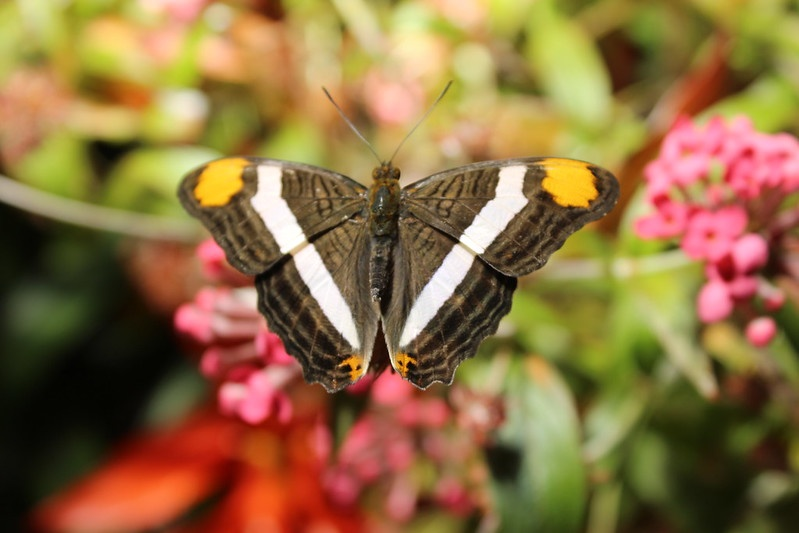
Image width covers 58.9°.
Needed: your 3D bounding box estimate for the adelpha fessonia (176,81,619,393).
[{"bbox_3d":[-0.016,-0.025,1.131,0.702,0.078,0.479,1,87,8],"label":"adelpha fessonia"}]
